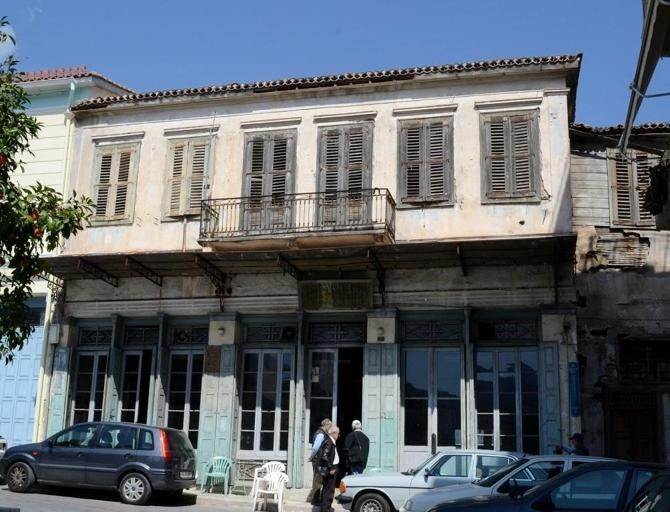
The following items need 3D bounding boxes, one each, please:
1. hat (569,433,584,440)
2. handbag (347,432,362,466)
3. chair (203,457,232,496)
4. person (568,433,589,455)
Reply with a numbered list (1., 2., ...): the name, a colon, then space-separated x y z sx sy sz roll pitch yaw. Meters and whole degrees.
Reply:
1. hat: 5.647 4.267 22.083 0.322 0.107 0.322 -5 -12 32
2. handbag: 0.455 4.682 22.711 0.252 0.587 0.430 -4 -34 -6
3. chair: -3.062 5.644 24.171 0.735 0.967 1.213 2 -14 -8
4. person: 5.836 4.484 22.402 0.346 0.522 1.846 -3 -14 14
